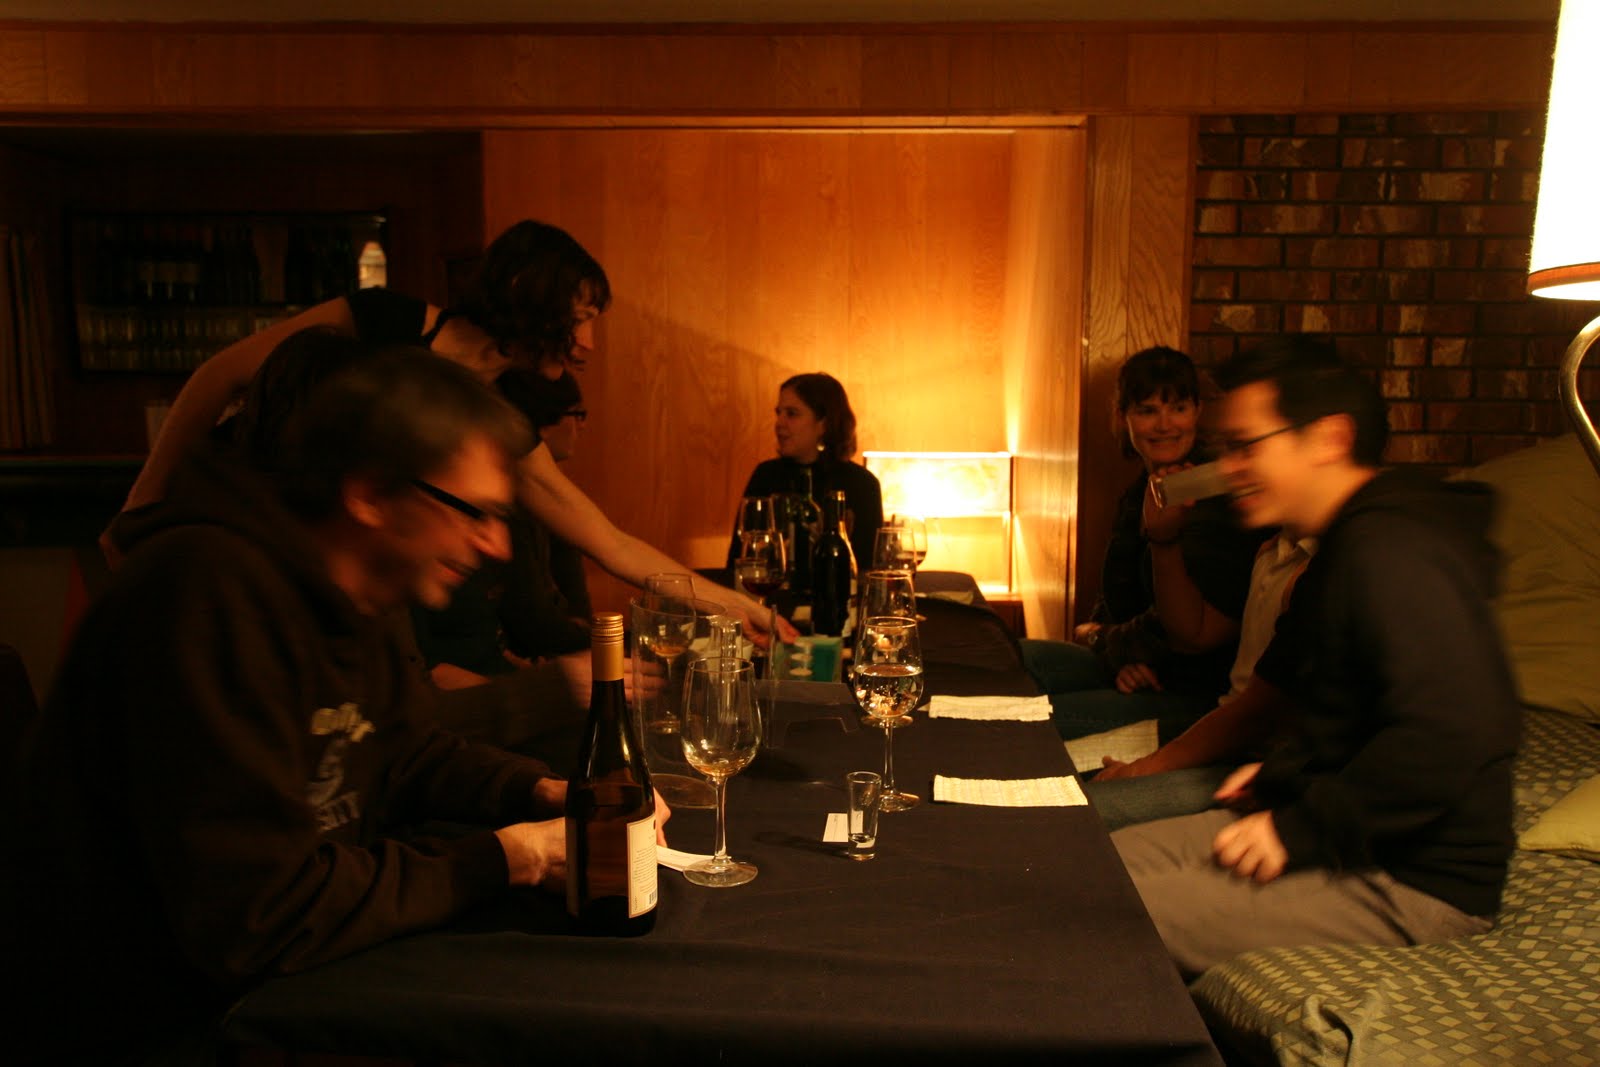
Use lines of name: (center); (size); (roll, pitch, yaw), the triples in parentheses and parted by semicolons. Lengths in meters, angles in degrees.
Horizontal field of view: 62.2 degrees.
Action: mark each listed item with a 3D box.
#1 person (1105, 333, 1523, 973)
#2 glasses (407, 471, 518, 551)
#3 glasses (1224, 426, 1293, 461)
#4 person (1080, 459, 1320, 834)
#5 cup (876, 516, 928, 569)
person: (1.011, 0.408, 3.108); (1.210, 1.528, 0.764); (-2, -1, 28)
glasses: (-0.567, -0.030, 2.254); (0.131, 0.037, 0.124); (36, -5, 1)
glasses: (1.000, -0.203, 2.919); (0.082, 0.023, 0.077); (-19, -11, -11)
person: (0.893, 0.304, 3.663); (0.867, 1.131, 0.645); (2, 2, 14)
cup: (0.312, 0.029, 4.023); (0.164, 0.152, 0.161); (3, 0, 0)
